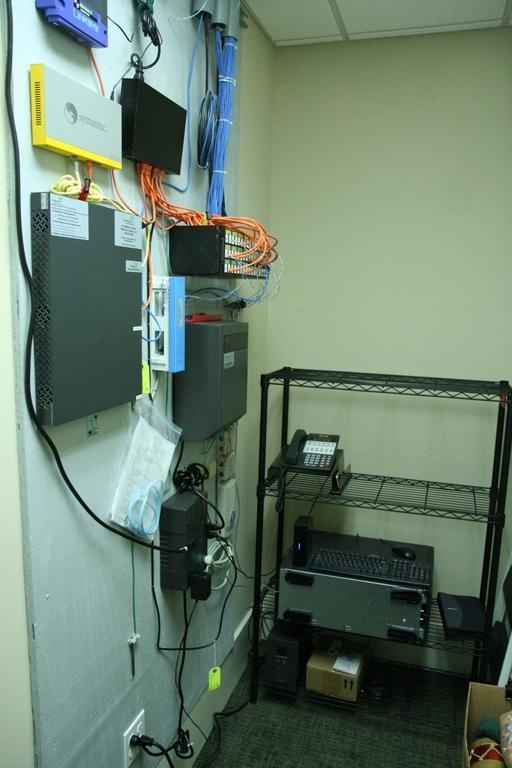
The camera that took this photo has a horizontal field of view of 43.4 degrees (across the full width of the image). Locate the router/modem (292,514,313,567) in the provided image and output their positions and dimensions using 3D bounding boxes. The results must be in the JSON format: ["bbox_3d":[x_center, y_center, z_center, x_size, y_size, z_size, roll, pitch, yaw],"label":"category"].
[{"bbox_3d":[0.175,0.589,2.402,0.043,0.136,0.134,2,11,12],"label":"router/modem"}]

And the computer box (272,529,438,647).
[{"bbox_3d":[0.387,0.734,2.452,0.546,0.278,0.408,6,12,20],"label":"computer box"}]

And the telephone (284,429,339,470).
[{"bbox_3d":[0.206,0.248,2.403,0.180,0.103,0.237,4,11,13],"label":"telephone"}]
